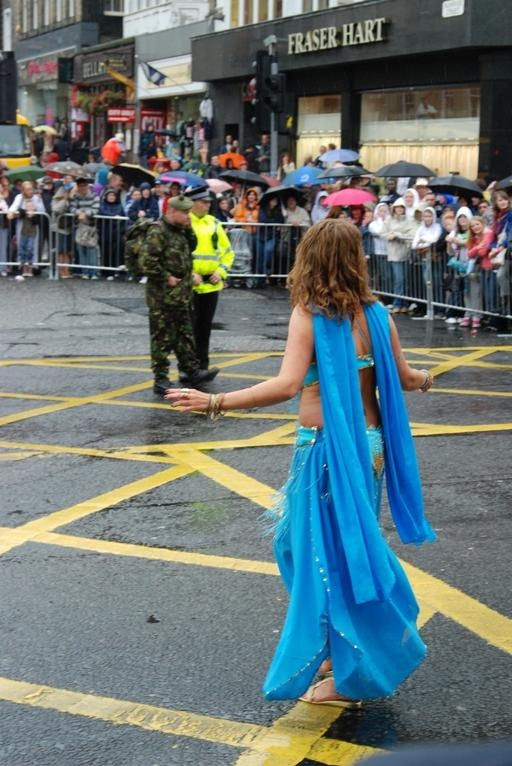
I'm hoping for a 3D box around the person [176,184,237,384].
[{"bbox_3d":[-0.550,-1.119,9.508,0.797,1.674,0.738,-5,8,-38],"label":"person"}]

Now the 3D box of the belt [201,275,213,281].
[{"bbox_3d":[-0.521,-1.110,9.112,0.089,0.028,0.112,0,-2,-14],"label":"belt"}]

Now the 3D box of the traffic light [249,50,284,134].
[{"bbox_3d":[0.383,-6.215,18.469,0.364,1.628,0.735,11,28,22],"label":"traffic light"}]

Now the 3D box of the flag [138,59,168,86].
[{"bbox_3d":[-4.404,-13.449,37.337,2.110,0.761,0.290,40,0,44],"label":"flag"}]

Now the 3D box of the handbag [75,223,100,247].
[{"bbox_3d":[-3.478,-3.069,17.819,0.449,0.382,0.198,15,34,10],"label":"handbag"}]

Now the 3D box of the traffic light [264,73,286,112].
[{"bbox_3d":[0.370,-6.159,18.335,0.469,0.806,0.306,3,12,13],"label":"traffic light"}]

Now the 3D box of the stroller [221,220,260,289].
[{"bbox_3d":[-0.320,-2.614,17.293,0.973,1.512,0.652,1,17,-2],"label":"stroller"}]

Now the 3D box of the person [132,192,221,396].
[{"bbox_3d":[-0.712,-0.920,8.519,0.897,2.032,0.791,0,19,-18],"label":"person"}]
